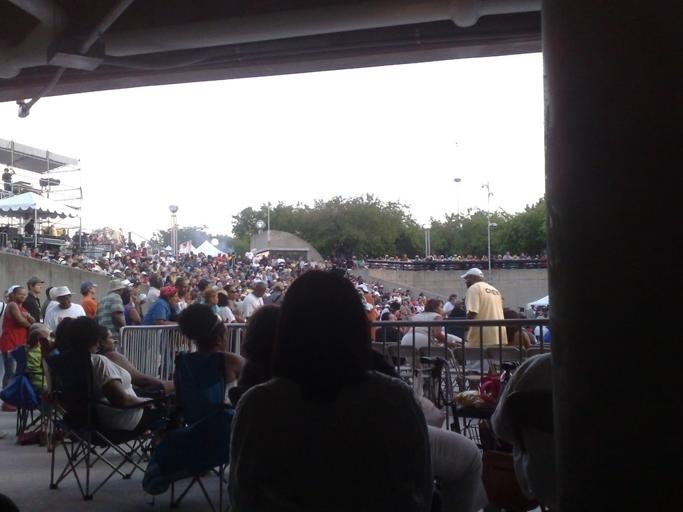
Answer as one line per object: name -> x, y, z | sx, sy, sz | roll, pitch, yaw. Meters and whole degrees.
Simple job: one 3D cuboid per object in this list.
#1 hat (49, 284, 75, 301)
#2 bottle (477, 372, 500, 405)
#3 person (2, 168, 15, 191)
hat -> -3.885, 0.494, 10.143 | 0.394, 0.160, 0.453 | -6, -6, -23
bottle -> 0.983, 0.896, 4.865 | 0.112, 0.196, 0.185 | 1, 2, 35
person -> -13.224, -3.063, 28.969 | 0.405, 1.070, 0.993 | 2, -3, -13
